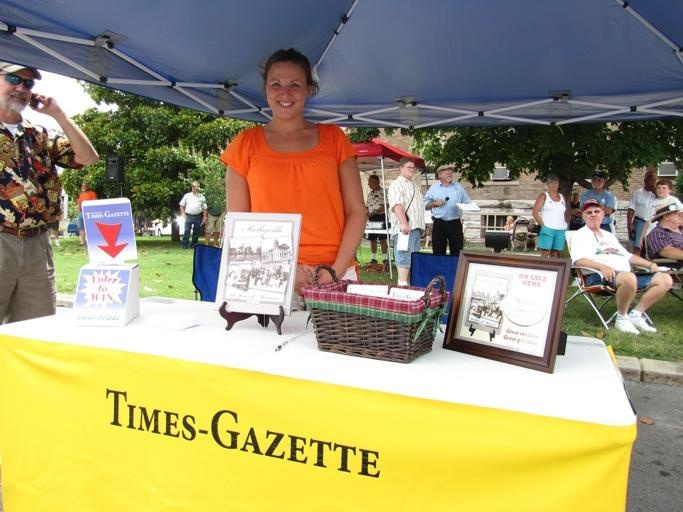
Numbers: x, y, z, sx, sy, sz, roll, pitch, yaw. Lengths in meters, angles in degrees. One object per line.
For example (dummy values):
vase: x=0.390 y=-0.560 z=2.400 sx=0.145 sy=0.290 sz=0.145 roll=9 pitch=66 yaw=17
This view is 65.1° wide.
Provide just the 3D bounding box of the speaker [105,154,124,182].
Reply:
speaker: x=-3.041 y=-1.185 z=7.168 sx=0.223 sy=0.348 sz=0.418 roll=-3 pitch=9 yaw=-23

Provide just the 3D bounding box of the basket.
basket: x=0.148 y=0.222 z=2.195 sx=0.548 sy=0.309 sz=0.361 roll=4 pitch=5 yaw=30

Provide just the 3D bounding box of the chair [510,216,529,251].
chair: x=6.820 y=-0.736 z=19.466 sx=0.813 sy=1.347 sz=0.787 roll=4 pitch=-2 yaw=-37

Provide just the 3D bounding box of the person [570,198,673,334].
person: x=3.219 y=0.116 z=6.244 sx=0.755 sy=1.581 sz=0.969 roll=1 pitch=-4 yaw=-10

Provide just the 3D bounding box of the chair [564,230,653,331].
chair: x=2.927 y=0.279 z=6.210 sx=0.616 sy=0.816 sz=0.554 roll=22 pitch=16 yaw=27

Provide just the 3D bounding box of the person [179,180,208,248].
person: x=-3.945 y=-1.141 z=14.415 sx=0.650 sy=1.748 sz=1.480 roll=-1 pitch=9 yaw=-15

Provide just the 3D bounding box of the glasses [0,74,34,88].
glasses: x=-1.808 y=-0.982 z=2.998 sx=0.154 sy=0.075 sz=0.083 roll=-6 pitch=11 yaw=-37

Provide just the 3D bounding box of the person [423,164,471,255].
person: x=1.652 y=-0.693 z=8.187 sx=0.701 sy=1.408 sz=0.914 roll=2 pitch=8 yaw=8

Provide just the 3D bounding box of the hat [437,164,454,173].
hat: x=1.649 y=-1.395 z=8.476 sx=0.311 sy=0.110 sz=0.363 roll=-5 pitch=12 yaw=-4

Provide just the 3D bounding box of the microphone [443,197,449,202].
microphone: x=1.617 y=-0.874 z=8.099 sx=0.019 sy=0.054 sz=0.077 roll=-2 pitch=10 yaw=-28

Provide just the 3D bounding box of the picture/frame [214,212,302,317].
picture/frame: x=-0.353 y=0.036 z=2.337 sx=0.452 sy=0.560 sz=0.049 roll=5 pitch=-4 yaw=12

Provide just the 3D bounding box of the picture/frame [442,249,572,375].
picture/frame: x=0.635 y=0.223 z=2.036 sx=0.398 sy=0.408 sz=0.032 roll=8 pitch=-6 yaw=28

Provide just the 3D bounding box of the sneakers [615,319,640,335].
sneakers: x=3.220 y=0.764 z=5.945 sx=0.129 sy=0.097 sz=0.221 roll=-10 pitch=13 yaw=-26
